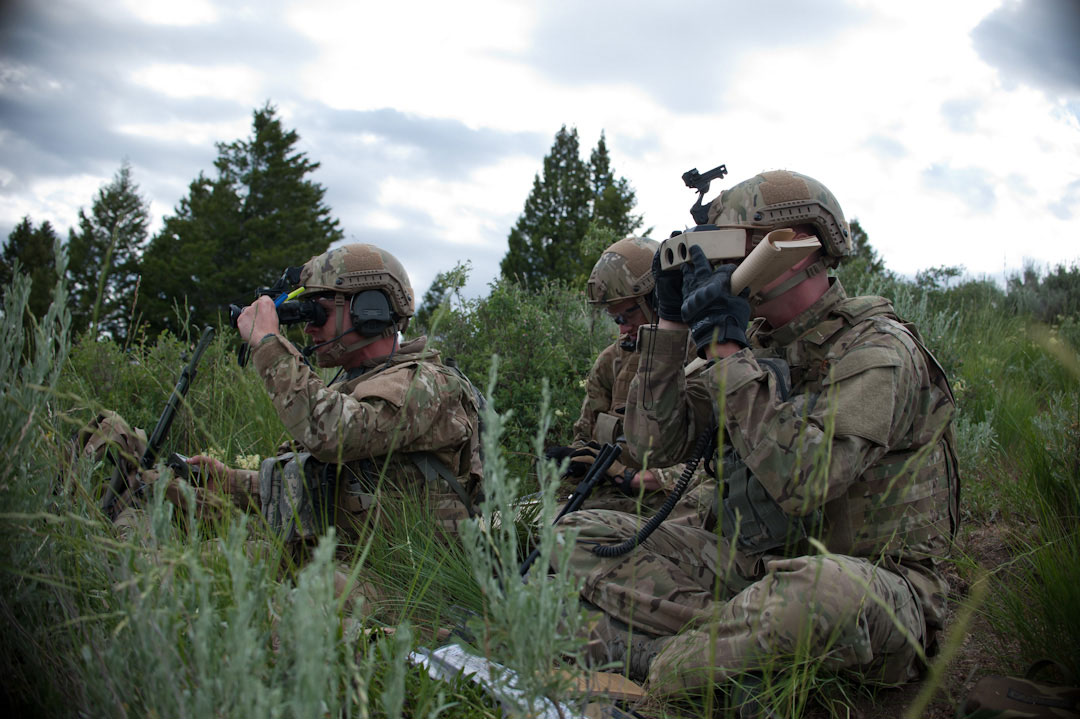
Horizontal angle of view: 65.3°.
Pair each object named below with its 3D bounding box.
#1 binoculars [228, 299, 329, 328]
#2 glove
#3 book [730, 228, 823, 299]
[{"bbox_3d":[-1.495,-0.289,5.115,0.305,0.137,0.266,-1,-2,-13],"label":"binoculars"},{"bbox_3d":[0.932,-0.328,4.368,0.483,0.574,0.216,-10,-7,42],"label":"glove"},{"bbox_3d":[1.135,-0.426,4.077,0.302,0.104,0.394,-14,-33,-42],"label":"book"}]
